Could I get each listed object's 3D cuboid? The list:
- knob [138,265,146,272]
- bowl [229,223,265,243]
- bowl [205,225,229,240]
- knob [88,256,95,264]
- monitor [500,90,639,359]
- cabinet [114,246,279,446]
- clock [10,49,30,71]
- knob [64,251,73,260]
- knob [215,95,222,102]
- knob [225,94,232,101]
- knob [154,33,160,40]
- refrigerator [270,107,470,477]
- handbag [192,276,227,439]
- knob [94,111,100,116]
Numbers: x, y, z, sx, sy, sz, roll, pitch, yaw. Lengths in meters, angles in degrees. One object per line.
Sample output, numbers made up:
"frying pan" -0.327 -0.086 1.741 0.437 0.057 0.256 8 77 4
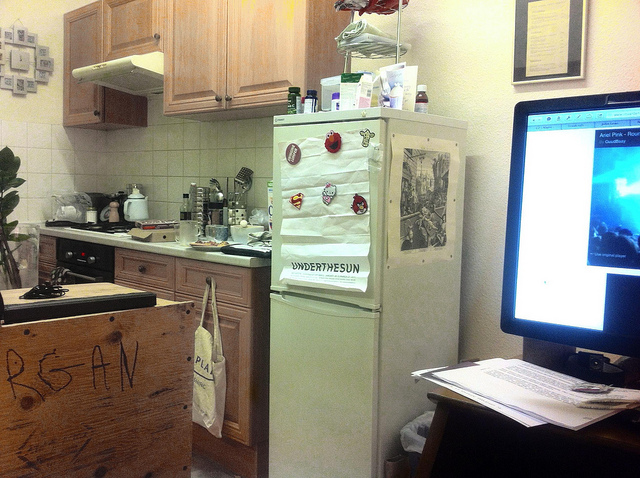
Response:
"knob" -1.028 0.169 2.754 0.027 0.036 0.027 8 8 15
"bowl" -0.409 -0.040 2.678 0.134 0.079 0.133 0 0 0
"bowl" -0.606 -0.042 2.822 0.133 0.091 0.118 -3 13 -11
"knob" -1.471 0.132 3.075 0.045 0.044 0.025 6 12 39
"monitor" 0.654 -0.050 1.240 0.331 0.642 0.224 5 14 23
"cabinet" -0.492 0.483 2.576 0.931 0.964 0.641 9 10 38
"clock" -2.302 -1.378 3.650 0.019 0.159 0.177 11 13 30
"knob" -1.714 0.107 3.257 0.027 0.048 0.035 -9 49 -48
"knob" -0.569 -0.794 2.672 0.039 0.035 0.028 2 16 4
"knob" -0.504 -0.788 2.626 0.024 0.023 0.033 -3 9 -37
"knob" -1.016 -1.276 2.979 0.032 0.029 0.031 8 18 15
"refrigerator" 0.167 0.243 1.874 0.772 1.465 0.586 2 13 10
"handbag" -0.548 0.584 2.365 0.169 0.756 0.230 -9 15 -31
"knob" -1.678 -0.953 3.587 0.030 0.029 0.032 8 7 -43
